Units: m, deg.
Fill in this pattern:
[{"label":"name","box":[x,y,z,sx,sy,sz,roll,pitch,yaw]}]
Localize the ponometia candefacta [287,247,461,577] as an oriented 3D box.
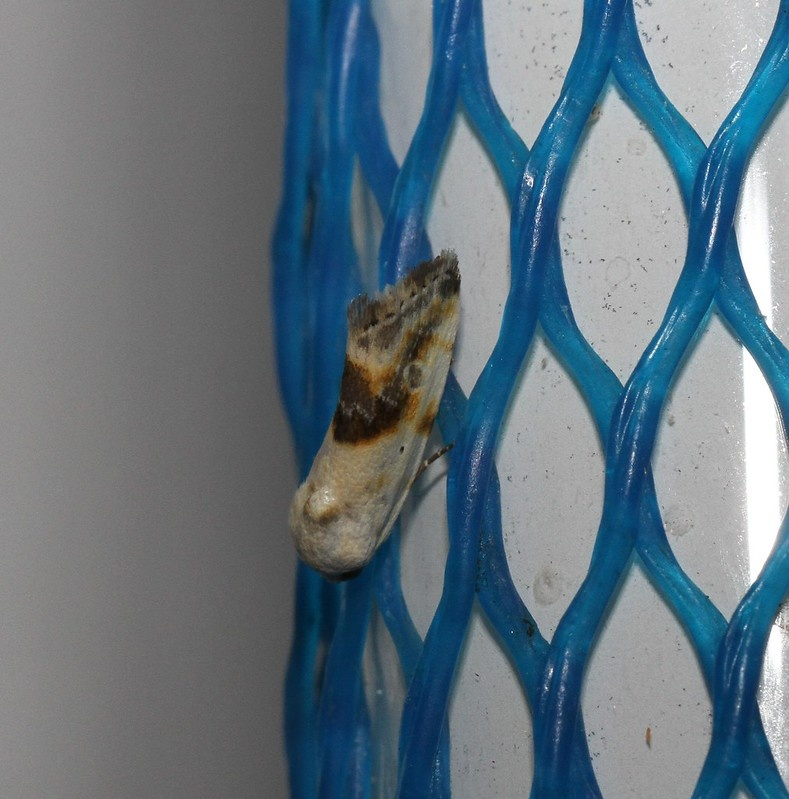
[{"label":"ponometia candefacta","box":[-0.018,0.000,1.411,0.111,0.341,0.106,9,6,40]}]
